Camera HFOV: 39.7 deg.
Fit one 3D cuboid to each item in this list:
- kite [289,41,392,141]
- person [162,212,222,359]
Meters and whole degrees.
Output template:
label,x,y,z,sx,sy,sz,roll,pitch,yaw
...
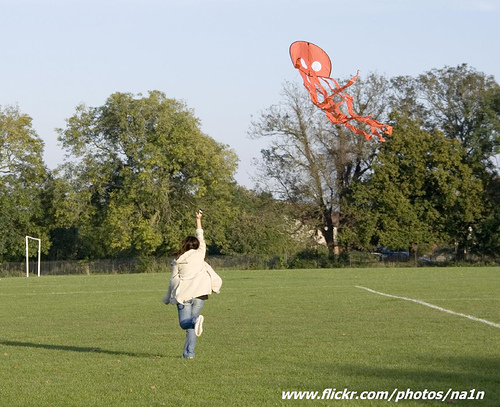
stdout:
label,x,y,z,sx,sy,sz,roll,pitch,yaw
kite,2.215,-3.479,21.243,1.630,0.787,3.694,22,-12,28
person,-1.201,1.641,14.014,1.080,2.979,0.832,0,-6,-8
